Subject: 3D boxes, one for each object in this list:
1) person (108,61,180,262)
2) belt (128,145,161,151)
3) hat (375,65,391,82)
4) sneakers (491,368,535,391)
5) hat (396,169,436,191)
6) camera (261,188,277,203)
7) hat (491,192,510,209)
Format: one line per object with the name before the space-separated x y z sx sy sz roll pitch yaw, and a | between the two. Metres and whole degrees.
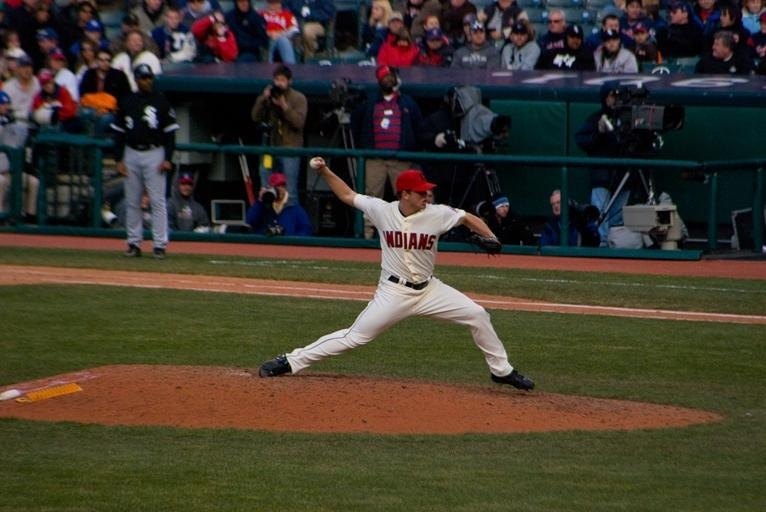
person | -3.250 -1.287 19.920 0.892 2.599 0.656 1 1 12
belt | -3.233 -1.458 19.682 0.351 0.078 0.076 1 0 -8
hat | 0.039 -2.684 21.466 0.184 0.177 0.234 -30 32 -26
sneakers | 1.475 1.364 16.112 0.585 0.242 0.191 10 15 2
hat | 0.353 -0.804 15.840 0.426 0.212 0.276 -4 6 12
camera | -1.654 -0.875 21.237 0.213 0.197 0.224 -3 11 2
hat | 1.745 -0.801 21.373 0.239 0.177 0.177 -20 -4 35
